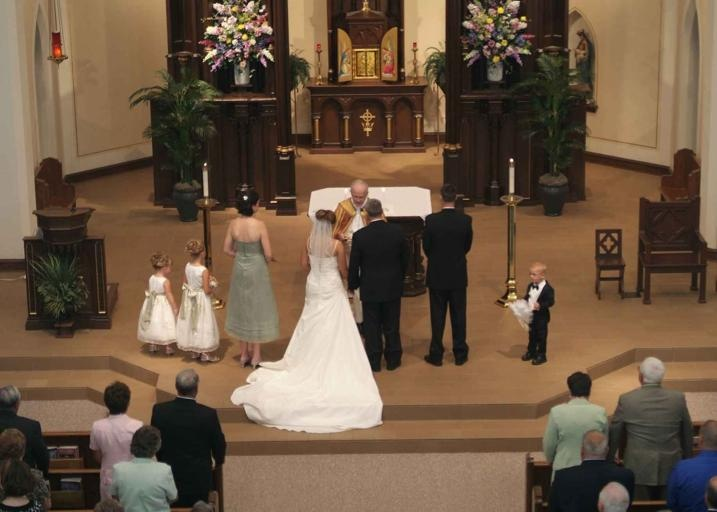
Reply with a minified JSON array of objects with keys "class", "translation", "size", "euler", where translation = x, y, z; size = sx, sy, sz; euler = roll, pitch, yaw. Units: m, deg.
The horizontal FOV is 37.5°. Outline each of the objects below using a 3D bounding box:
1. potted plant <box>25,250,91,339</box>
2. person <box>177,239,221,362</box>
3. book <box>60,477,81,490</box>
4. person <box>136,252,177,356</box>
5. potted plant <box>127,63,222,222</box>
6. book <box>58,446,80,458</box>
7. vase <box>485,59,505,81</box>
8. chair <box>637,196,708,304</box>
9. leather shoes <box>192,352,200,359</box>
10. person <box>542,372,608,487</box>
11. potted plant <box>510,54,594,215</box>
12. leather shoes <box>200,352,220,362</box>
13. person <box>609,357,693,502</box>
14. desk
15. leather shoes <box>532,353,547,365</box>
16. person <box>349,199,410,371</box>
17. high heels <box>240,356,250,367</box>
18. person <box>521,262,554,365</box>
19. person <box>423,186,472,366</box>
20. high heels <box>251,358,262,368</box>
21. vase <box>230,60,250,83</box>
[{"class":"potted plant","translation":[-3.331,0.423,11.970],"size":[0.615,1.036,0.619],"euler":[0,-5,-34]},{"class":"person","translation":[-1.708,0.480,11.128],"size":[0.439,1.313,0.612],"euler":[-1,3,-10]},{"class":"book","translation":[-2.408,1.915,8.808],"size":[0.137,0.089,0.103],"euler":[1,0,-6]},{"class":"person","translation":[-2.159,0.517,11.368],"size":[0.375,1.110,0.541],"euler":[-2,3,-32]},{"class":"potted plant","translation":[-2.604,-1.635,15.516],"size":[1.093,2.234,0.912],"euler":[2,4,44]},{"class":"book","translation":[-2.481,1.686,9.060],"size":[0.114,0.074,0.114],"euler":[1,13,-4]},{"class":"vase","translation":[2.045,-2.820,15.857],"size":[0.256,0.297,0.260],"euler":[5,27,19]},{"class":"chair","translation":[3.599,-0.061,12.176],"size":[0.744,1.148,0.681],"euler":[1,13,14]},{"class":"leather shoes","translation":[-1.748,1.081,11.319],"size":[0.041,0.053,0.117],"euler":[-2,-2,-20]},{"class":"person","translation":[1.820,1.693,8.770],"size":[0.495,1.499,0.446],"euler":[0,11,7]},{"class":"potted plant","translation":[2.820,-1.832,15.551],"size":[0.985,2.461,0.943],"euler":[0,3,12]},{"class":"leather shoes","translation":[-1.607,1.080,11.289],"size":[0.229,0.099,0.089],"euler":[-4,15,-21]},{"class":"person","translation":[2.456,1.623,8.880],"size":[0.683,1.595,0.501],"euler":[-1,17,13]},{"class":"desk","translation":[0.174,-2.699,19.305],"size":[2.120,1.168,1.231],"euler":[0,22,1]},{"class":"leather shoes","translation":[1.897,1.094,11.125],"size":[0.159,0.107,0.087],"euler":[-1,9,-14]},{"class":"person","translation":[0.201,0.298,10.899],"size":[0.611,1.764,0.530],"euler":[-2,13,-4]},{"class":"high heels","translation":[-1.199,1.125,11.148],"size":[0.055,0.081,0.156],"euler":[1,19,0]},{"class":"person","translation":[1.855,0.607,11.036],"size":[0.302,1.094,0.716],"euler":[0,2,8]},{"class":"person","translation":[0.911,0.296,10.915],"size":[0.484,1.736,0.413],"euler":[0,3,4]},{"class":"high heels","translation":[-1.082,1.145,11.079],"size":[0.066,0.109,0.080],"euler":[10,3,0]},{"class":"vase","translation":[-1.731,-2.754,15.732],"size":[0.255,0.259,0.471],"euler":[1,-24,-5]}]
